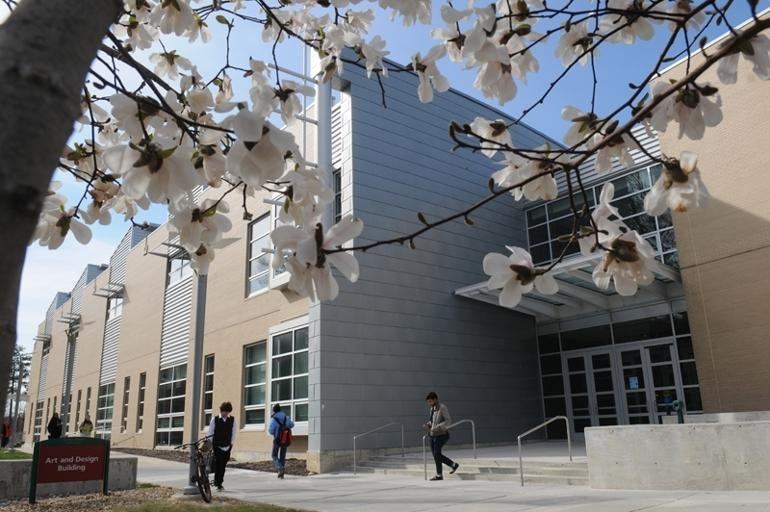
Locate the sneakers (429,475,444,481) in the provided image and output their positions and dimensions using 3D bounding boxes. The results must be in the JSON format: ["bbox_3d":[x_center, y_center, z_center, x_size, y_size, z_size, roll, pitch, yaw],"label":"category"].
[{"bbox_3d":[1.053,4.614,10.612,0.307,0.121,0.110,7,-22,-19],"label":"sneakers"}]

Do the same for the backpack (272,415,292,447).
[{"bbox_3d":[-2.627,4.326,12.414,0.711,0.680,0.436,-25,-32,30],"label":"backpack"}]
